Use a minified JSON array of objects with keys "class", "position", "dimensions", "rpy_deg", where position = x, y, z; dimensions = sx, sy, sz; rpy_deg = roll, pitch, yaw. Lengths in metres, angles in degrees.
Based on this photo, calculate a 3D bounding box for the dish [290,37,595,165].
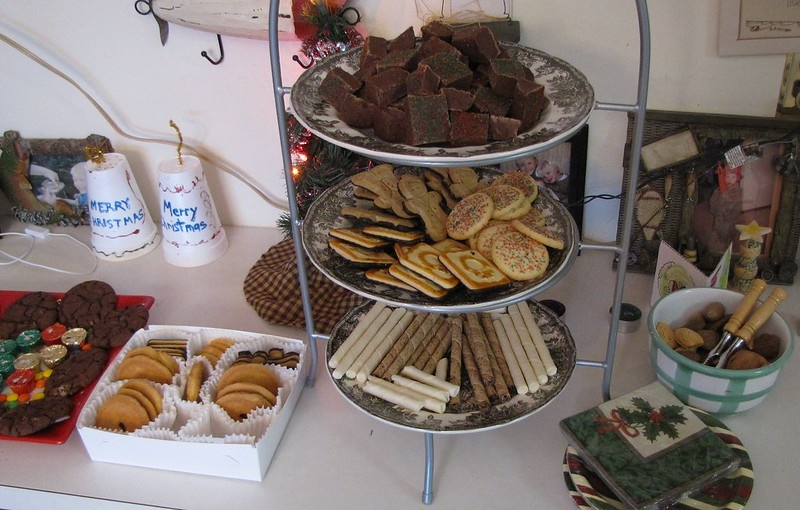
[{"class":"dish","position":[0.072,-0.269,1.048],"dimensions":[0.535,0.169,0.386],"rpy_deg":[5,29,12]}]

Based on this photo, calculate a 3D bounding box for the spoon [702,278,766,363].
[{"class":"spoon","position":[0.697,0.143,1.203],"dimensions":[0.191,0.029,0.034],"rpy_deg":[-50,27,-1]}]

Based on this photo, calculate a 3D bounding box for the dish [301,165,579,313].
[{"class":"dish","position":[0.071,0.010,1.165],"dimensions":[0.540,0.245,0.378],"rpy_deg":[5,29,12]}]

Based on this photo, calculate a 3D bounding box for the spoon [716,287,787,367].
[{"class":"spoon","position":[0.712,0.149,1.174],"dimensions":[0.149,0.150,0.027],"rpy_deg":[-18,33,-27]}]

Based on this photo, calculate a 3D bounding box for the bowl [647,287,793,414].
[{"class":"bowl","position":[0.654,0.216,1.273],"dimensions":[0.287,0.181,0.282],"rpy_deg":[-3,41,2]}]

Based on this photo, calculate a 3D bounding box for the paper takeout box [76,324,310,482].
[{"class":"paper takeout box","position":[-0.458,0.315,1.197],"dimensions":[0.391,0.109,0.301],"rpy_deg":[6,39,6]}]

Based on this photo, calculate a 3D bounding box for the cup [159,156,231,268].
[{"class":"cup","position":[-0.580,-0.119,1.609],"dimensions":[0.203,0.276,0.197],"rpy_deg":[0,36,0]}]

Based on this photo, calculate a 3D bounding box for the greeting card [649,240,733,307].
[{"class":"greeting card","position":[0.706,0.059,1.353],"dimensions":[0.188,0.138,0.189],"rpy_deg":[8,11,44]}]

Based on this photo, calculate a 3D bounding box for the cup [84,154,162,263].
[{"class":"cup","position":[-0.821,-0.143,1.667],"dimensions":[0.199,0.264,0.195],"rpy_deg":[1,24,0]}]
